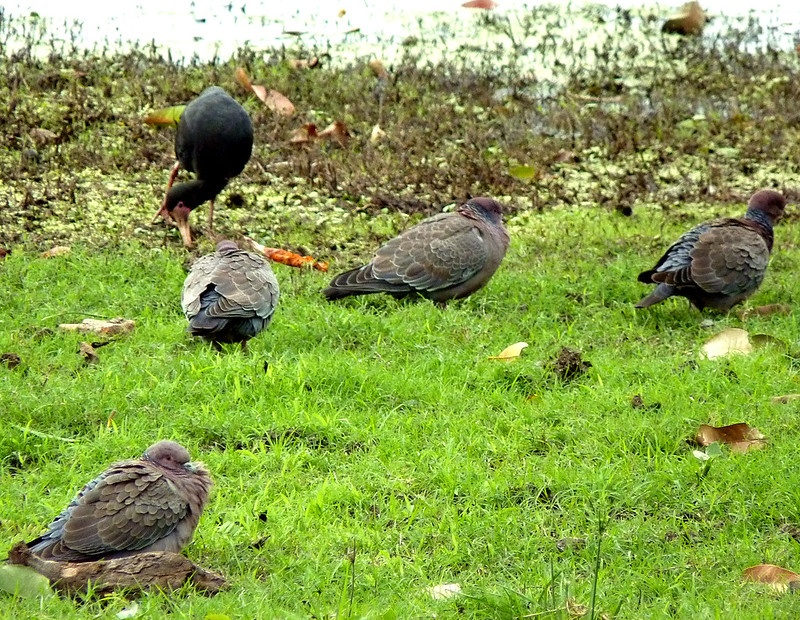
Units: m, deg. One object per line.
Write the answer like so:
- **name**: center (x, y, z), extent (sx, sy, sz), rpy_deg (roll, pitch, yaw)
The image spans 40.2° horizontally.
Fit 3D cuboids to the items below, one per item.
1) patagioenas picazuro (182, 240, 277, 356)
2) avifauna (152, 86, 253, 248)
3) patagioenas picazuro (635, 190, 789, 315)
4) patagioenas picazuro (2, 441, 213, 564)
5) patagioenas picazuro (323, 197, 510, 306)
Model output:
- **patagioenas picazuro**: center (-1.250, -0.072, 8.593), extent (0.515, 0.727, 0.971), rpy_deg (0, -13, 6)
- **avifauna**: center (-1.906, -1.498, 11.208), extent (0.876, 1.432, 2.005), rpy_deg (4, 6, -10)
- **patagioenas picazuro**: center (2.598, -0.503, 9.096), extent (1.371, 1.028, 0.682), rpy_deg (-2, 13, -19)
- **patagioenas picazuro**: center (-1.708, 1.155, 6.368), extent (1.105, 0.787, 0.599), rpy_deg (-2, 4, -16)
- **patagioenas picazuro**: center (0.166, -0.527, 9.407), extent (1.569, 0.843, 0.730), rpy_deg (-3, 21, -18)
